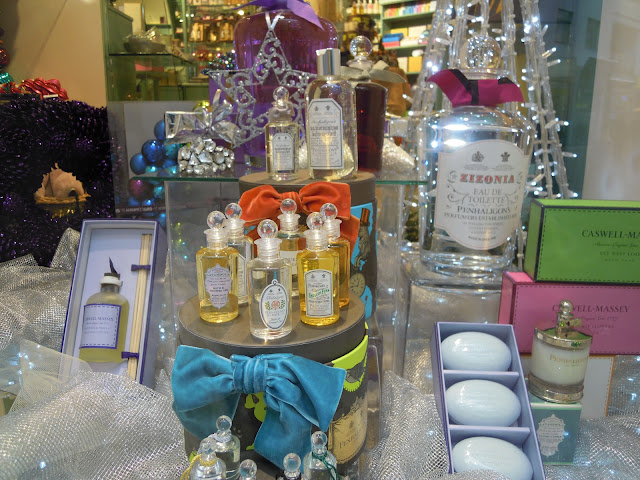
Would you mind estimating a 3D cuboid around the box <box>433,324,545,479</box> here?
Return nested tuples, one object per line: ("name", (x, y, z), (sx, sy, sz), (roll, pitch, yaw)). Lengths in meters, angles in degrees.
("box", (0.357, 0.420, 1.156), (0.208, 0.108, 0.479), (2, 55, -2))

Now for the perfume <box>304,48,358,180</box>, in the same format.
("perfume", (0.028, -0.294, 1.171), (0.126, 0.295, 0.138), (0, 13, 3))

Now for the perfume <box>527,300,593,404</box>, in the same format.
("perfume", (0.535, 0.237, 1.095), (0.118, 0.212, 0.122), (9, 6, 36))

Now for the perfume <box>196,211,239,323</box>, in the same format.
("perfume", (-0.199, 0.056, 0.963), (0.076, 0.206, 0.057), (-4, 14, -10))

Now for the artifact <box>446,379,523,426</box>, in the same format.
("artifact", (0.340, 0.345, 1.023), (0.152, 0.083, 0.062), (3, 14, 16))

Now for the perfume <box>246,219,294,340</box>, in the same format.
("perfume", (-0.096, 0.065, 0.958), (0.084, 0.213, 0.152), (-2, 13, -3))

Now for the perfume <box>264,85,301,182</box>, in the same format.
("perfume", (-0.085, -0.248, 1.160), (0.084, 0.210, 0.085), (-8, 15, -25))

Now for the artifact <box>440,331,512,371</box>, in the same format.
("artifact", (0.355, 0.259, 1.125), (0.163, 0.097, 0.112), (-1, 6, 26))
